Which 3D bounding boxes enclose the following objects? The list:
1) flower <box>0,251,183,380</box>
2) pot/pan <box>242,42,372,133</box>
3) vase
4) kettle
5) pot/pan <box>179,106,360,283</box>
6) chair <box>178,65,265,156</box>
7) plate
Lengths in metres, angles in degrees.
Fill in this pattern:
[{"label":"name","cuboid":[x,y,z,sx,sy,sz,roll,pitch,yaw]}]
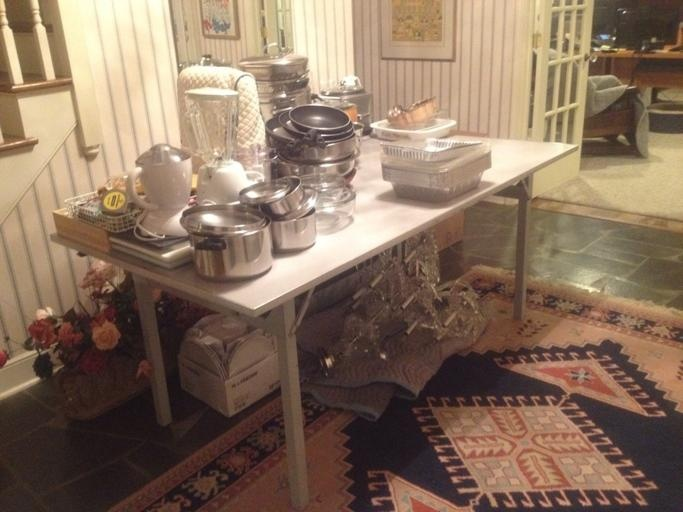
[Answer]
[{"label":"flower","cuboid":[-1.168,0.325,2.718,0.720,0.585,0.487,12,44,-5]},{"label":"pot/pan","cuboid":[-0.170,-0.858,2.684,0.663,0.480,0.409,-15,30,-29]},{"label":"vase","cuboid":[-1.147,0.634,2.570,0.346,0.107,0.275,-18,37,-25]},{"label":"kettle","cuboid":[-0.633,-0.226,1.880,0.188,0.294,0.173,1,25,9]},{"label":"pot/pan","cuboid":[-0.212,-0.254,1.949,0.442,0.271,0.749,19,36,29]},{"label":"chair","cuboid":[-0.474,-0.558,2.084,0.376,0.378,0.201,6,26,19]},{"label":"plate","cuboid":[-0.567,0.465,2.532,0.346,0.132,0.362,22,40,29]}]
